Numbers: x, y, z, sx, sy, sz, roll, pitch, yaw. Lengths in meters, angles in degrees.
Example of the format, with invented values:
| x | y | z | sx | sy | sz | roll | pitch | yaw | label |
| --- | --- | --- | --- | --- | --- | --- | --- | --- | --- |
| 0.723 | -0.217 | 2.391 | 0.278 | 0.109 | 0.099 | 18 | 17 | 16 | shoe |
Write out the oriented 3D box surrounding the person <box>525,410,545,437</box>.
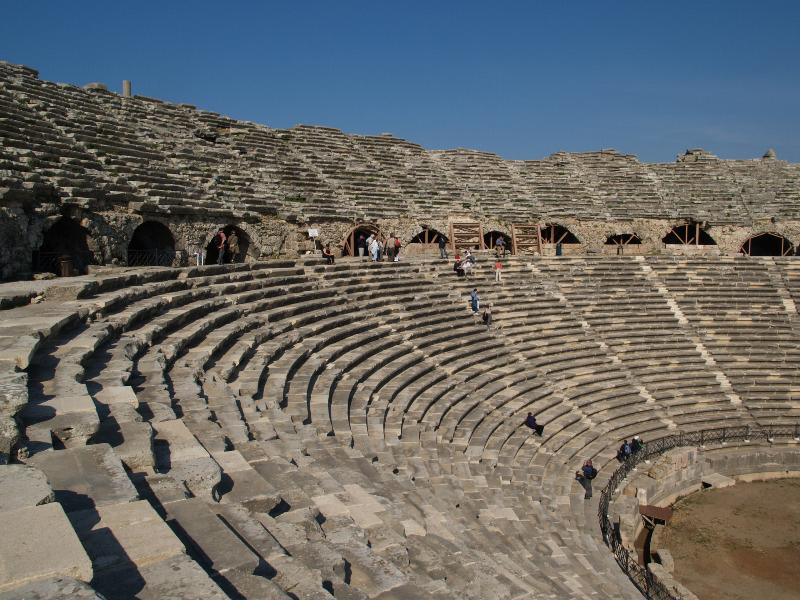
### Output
| x | y | z | sx | sy | sz | roll | pitch | yaw | label |
| --- | --- | --- | --- | --- | --- | --- | --- | --- | --- |
| 3.727 | 3.432 | 17.820 | 0.528 | 0.684 | 1.006 | 0 | -1 | 12 | person |
